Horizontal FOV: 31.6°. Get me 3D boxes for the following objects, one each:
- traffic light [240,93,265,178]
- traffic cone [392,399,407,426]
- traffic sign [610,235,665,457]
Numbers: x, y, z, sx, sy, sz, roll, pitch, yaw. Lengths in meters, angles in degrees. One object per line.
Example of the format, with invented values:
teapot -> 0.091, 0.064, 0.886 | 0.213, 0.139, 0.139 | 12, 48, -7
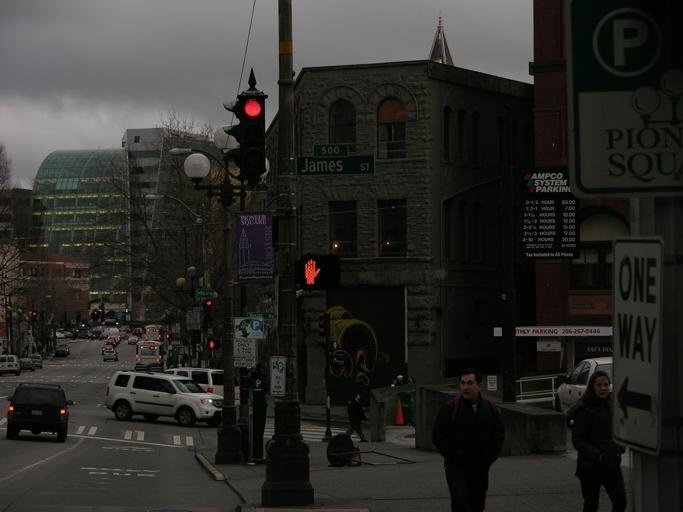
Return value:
traffic light -> -1.567, -2.173, 21.499 | 0.415, 1.559, 0.690 | 1, -2, -5
traffic cone -> 1.780, 4.850, 37.389 | 0.229, 0.809, 0.585 | 1, -3, -19
traffic sign -> 2.844, 0.851, 11.603 | 0.075, 2.053, 0.535 | 2, -3, -44
